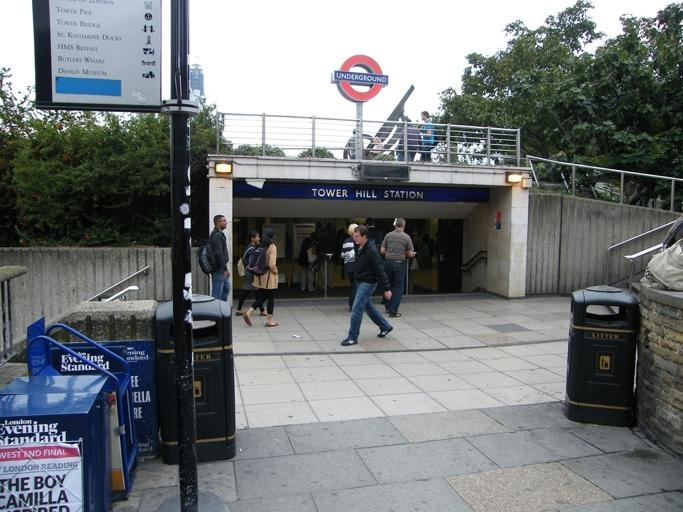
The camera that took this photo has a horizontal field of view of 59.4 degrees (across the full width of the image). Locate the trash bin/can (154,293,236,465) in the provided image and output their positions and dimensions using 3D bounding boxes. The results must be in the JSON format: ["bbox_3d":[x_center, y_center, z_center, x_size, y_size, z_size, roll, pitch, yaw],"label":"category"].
[{"bbox_3d":[-1.548,1.310,6.336,0.818,1.703,0.697,-1,8,-12],"label":"trash bin/can"}]

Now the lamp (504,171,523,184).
[{"bbox_3d":[4.456,-2.021,15.436,0.456,0.369,0.273,0,0,-5],"label":"lamp"}]

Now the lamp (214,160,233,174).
[{"bbox_3d":[-2.690,-1.979,13.486,0.410,0.394,0.224,1,-3,-10],"label":"lamp"}]

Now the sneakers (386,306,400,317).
[{"bbox_3d":[1.105,1.219,13.019,0.246,0.270,0.138,-1,1,9],"label":"sneakers"}]

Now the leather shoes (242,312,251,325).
[{"bbox_3d":[-1.853,1.221,11.635,0.121,0.348,0.111,-11,10,-1],"label":"leather shoes"}]

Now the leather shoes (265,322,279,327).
[{"bbox_3d":[-1.377,1.334,11.847,0.245,0.081,0.090,-2,7,-24],"label":"leather shoes"}]

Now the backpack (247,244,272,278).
[{"bbox_3d":[-1.611,0.082,11.606,0.472,0.548,0.279,9,11,44],"label":"backpack"}]

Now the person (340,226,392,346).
[{"bbox_3d":[0.445,0.491,10.606,0.835,2.053,0.872,1,8,4],"label":"person"}]

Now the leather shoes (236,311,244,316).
[{"bbox_3d":[-2.045,1.158,11.970,0.123,0.158,0.385,1,-9,-11],"label":"leather shoes"}]

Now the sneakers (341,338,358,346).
[{"bbox_3d":[0.120,1.495,10.467,0.216,0.101,0.123,4,-8,-23],"label":"sneakers"}]

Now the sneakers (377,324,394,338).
[{"bbox_3d":[0.796,1.371,11.002,0.176,0.178,0.456,0,-9,6],"label":"sneakers"}]
